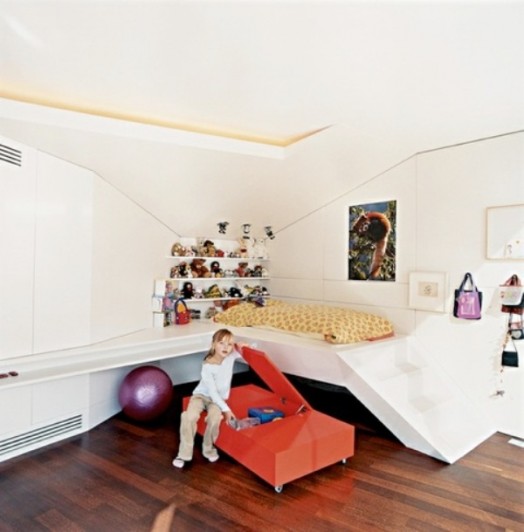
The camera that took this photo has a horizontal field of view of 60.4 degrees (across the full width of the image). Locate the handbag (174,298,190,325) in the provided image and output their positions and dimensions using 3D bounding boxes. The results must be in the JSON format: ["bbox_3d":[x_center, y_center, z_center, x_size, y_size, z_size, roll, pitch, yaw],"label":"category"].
[{"bbox_3d":[-0.851,0.482,4.764,0.154,0.250,0.251,0,4,-12],"label":"handbag"}]

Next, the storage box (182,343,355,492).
[{"bbox_3d":[-0.017,1.006,3.265,0.708,0.680,1.214,-4,8,-41],"label":"storage box"}]

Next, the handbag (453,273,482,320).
[{"bbox_3d":[1.697,0.256,3.708,0.077,0.401,0.237,-2,5,-37],"label":"handbag"}]

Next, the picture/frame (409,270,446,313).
[{"bbox_3d":[1.480,0.222,3.980,0.065,0.442,0.433,4,-3,-41],"label":"picture/frame"}]
